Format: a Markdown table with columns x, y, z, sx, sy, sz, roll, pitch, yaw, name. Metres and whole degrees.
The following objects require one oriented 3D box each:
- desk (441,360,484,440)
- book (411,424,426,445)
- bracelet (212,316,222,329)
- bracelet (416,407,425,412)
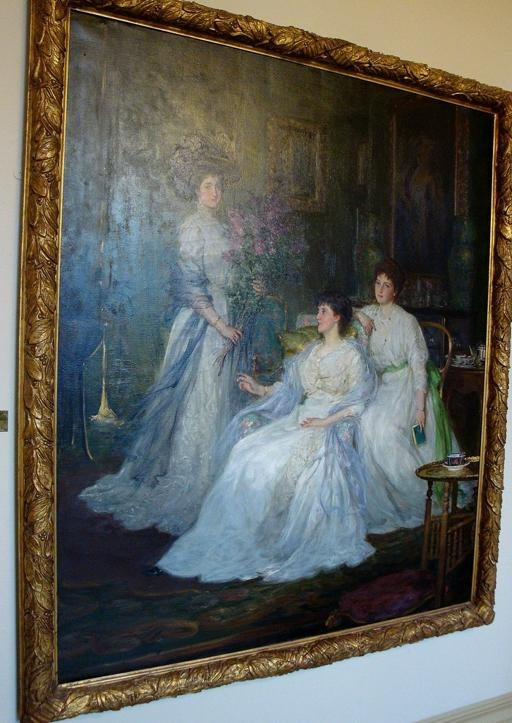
| x | y | z | sx | sy | sz | roll | pitch | yaw | name |
| --- | --- | --- | --- | --- | --- | --- | --- | --- | --- |
| 1.217 | 0.291 | 4.035 | 0.183 | 0.483 | 0.302 | -7 | -8 | 12 | desk |
| 0.892 | 0.404 | 3.807 | 0.098 | 0.094 | 0.025 | -9 | 4 | -39 | book |
| -0.183 | -0.182 | 3.290 | 0.036 | 0.047 | 0.017 | -4 | 4 | -24 | bracelet |
| 0.899 | 0.262 | 3.805 | 0.027 | 0.027 | 0.007 | 31 | 6 | -34 | bracelet |
